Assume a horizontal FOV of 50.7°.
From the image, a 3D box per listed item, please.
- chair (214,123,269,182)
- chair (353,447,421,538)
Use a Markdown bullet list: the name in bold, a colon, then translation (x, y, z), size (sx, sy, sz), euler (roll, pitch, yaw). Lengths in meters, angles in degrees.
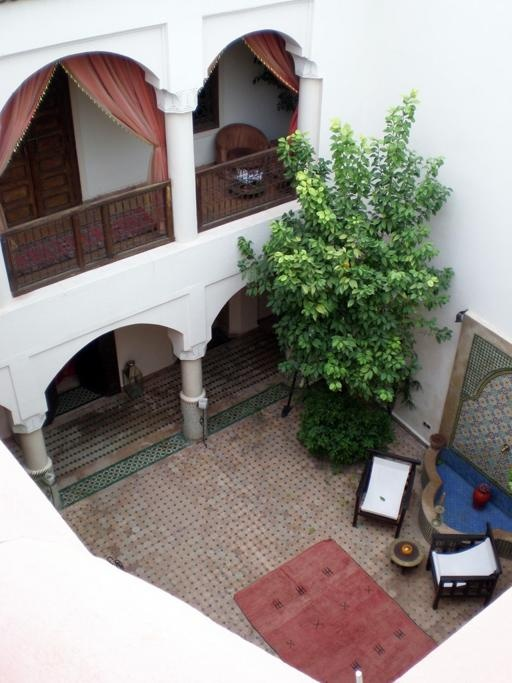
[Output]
- **chair**: translation (-0.286, -3.701, 10.179), size (0.913, 0.688, 0.719), euler (-2, 25, -9)
- **chair**: translation (2.154, 2.503, 9.003), size (0.810, 1.133, 0.931), euler (12, 27, 20)
